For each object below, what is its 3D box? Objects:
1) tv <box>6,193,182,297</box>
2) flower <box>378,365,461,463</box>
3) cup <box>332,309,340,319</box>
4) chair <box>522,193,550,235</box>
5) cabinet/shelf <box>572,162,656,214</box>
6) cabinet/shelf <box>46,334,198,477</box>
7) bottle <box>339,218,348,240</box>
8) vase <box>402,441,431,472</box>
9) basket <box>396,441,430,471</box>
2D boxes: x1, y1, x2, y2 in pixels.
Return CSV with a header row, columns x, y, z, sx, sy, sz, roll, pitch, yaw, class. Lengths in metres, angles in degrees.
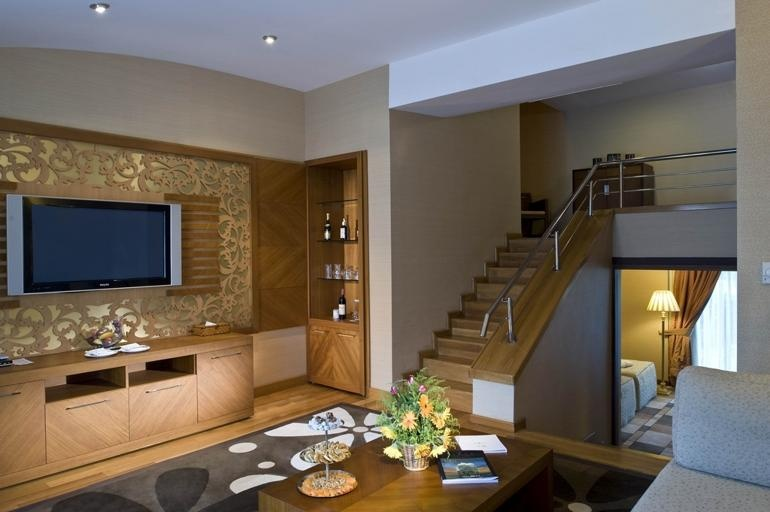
x,y,z,sx,sy,sz,roll,pitch,yaw,class
-3.096,-0.122,5.587,1.215,0.668,0.122,0,1,-43,tv
0.260,1.217,4.258,0.688,0.623,0.629,3,-4,-25,flower
-0.659,0.773,7.210,0.116,0.125,0.113,0,0,0,cup
2.790,-0.831,9.908,0.488,0.662,0.472,10,10,17,chair
4.167,-1.030,9.701,0.560,1.258,1.408,-5,6,-36,cabinet/shelf
-2.870,1.480,5.613,0.850,0.916,1.604,-3,-2,34,cabinet/shelf
-0.555,-0.372,7.337,0.140,0.303,0.379,-2,9,-3,bottle
0.225,1.467,4.011,0.215,0.152,0.198,1,-3,-17,vase
0.218,1.480,3.977,0.214,0.150,0.197,0,-4,-5,basket
